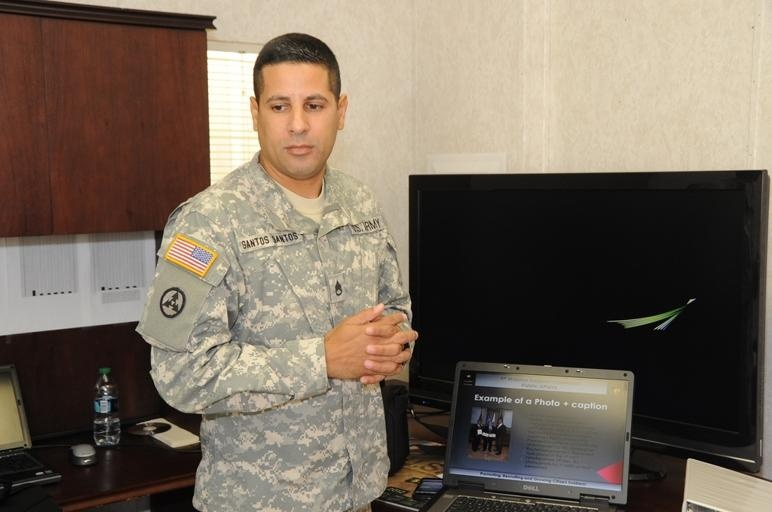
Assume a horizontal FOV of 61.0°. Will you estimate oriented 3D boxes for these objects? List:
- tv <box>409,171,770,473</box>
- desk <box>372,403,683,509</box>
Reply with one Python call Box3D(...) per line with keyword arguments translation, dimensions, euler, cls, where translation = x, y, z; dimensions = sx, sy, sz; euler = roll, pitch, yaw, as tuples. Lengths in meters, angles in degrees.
Box3D(translation=(0.728, 0.219, 2.192), dimensions=(1.137, 0.788, 0.327), euler=(1, -3, 29), cls="tv")
Box3D(translation=(0.706, 0.593, 2.236), dimensions=(0.540, 0.313, 0.432), euler=(3, -6, 30), cls="desk")
